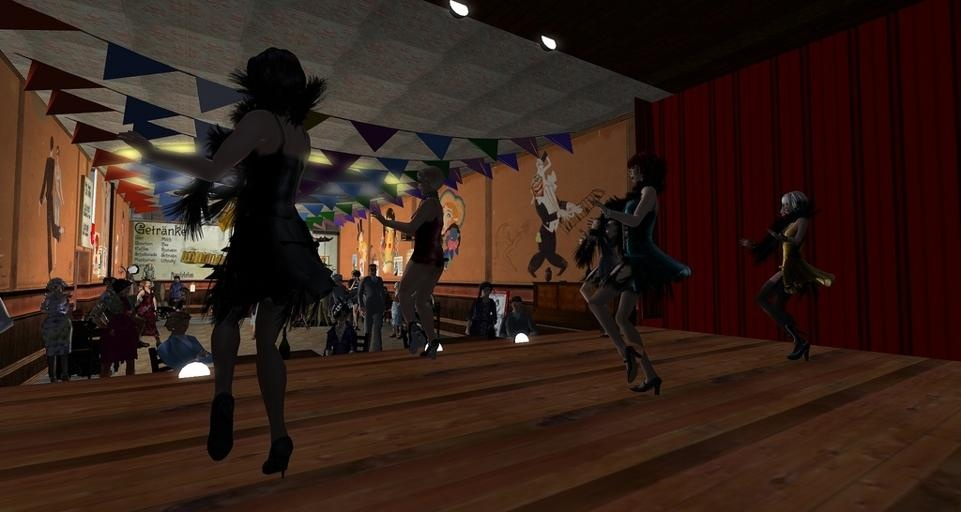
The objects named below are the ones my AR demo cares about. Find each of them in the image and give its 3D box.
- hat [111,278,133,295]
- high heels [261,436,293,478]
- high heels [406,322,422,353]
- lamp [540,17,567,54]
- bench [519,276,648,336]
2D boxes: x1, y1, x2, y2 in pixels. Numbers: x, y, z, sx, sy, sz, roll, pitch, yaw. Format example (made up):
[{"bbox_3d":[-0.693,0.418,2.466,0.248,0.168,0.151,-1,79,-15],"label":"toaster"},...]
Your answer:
[{"bbox_3d":[-6.009,0.506,7.938,0.300,0.195,0.291,3,0,18],"label":"hat"},{"bbox_3d":[-1.795,1.764,4.148,0.215,0.369,0.187,-1,-5,-26],"label":"high heels"},{"bbox_3d":[-0.887,1.041,6.209,0.185,0.466,0.209,-5,13,-10],"label":"high heels"},{"bbox_3d":[1.092,-3.440,7.416,0.415,0.210,0.690,-3,-3,11],"label":"lamp"},{"bbox_3d":[1.675,1.076,10.033,0.537,1.043,1.605,-1,-4,-27],"label":"bench"}]
